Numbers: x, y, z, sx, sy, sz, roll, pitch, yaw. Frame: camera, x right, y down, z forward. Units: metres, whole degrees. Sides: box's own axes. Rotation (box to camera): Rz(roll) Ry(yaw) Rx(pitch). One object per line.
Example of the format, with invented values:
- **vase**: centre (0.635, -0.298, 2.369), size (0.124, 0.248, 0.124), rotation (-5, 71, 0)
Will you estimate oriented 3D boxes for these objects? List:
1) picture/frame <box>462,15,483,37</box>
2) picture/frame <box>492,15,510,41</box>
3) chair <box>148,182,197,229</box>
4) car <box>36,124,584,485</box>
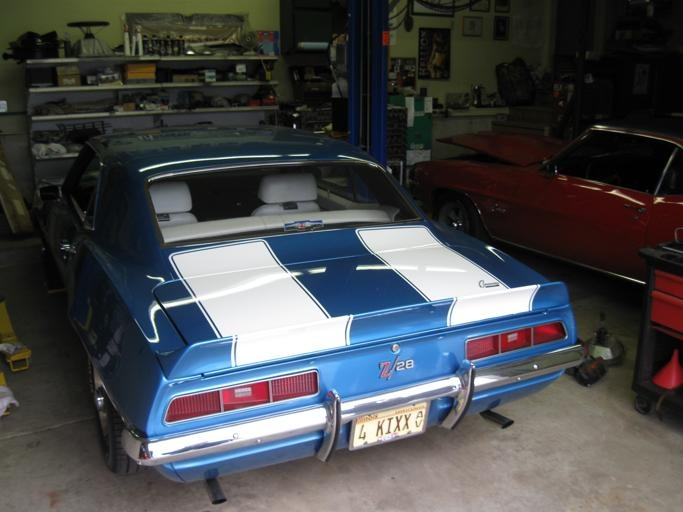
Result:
- **picture/frame**: centre (3.012, -5.327, 12.082), size (0.513, 0.397, 0.022), rotation (-1, 12, -27)
- **picture/frame**: centre (3.761, -5.393, 12.347), size (0.550, 0.742, 0.050), rotation (-6, 16, -25)
- **chair**: centre (-0.948, -0.309, 2.956), size (0.261, 0.289, 0.238), rotation (-7, 13, -29)
- **car**: centre (-0.917, -0.280, 4.064), size (2.448, 1.271, 4.495), rotation (-8, 25, -32)
